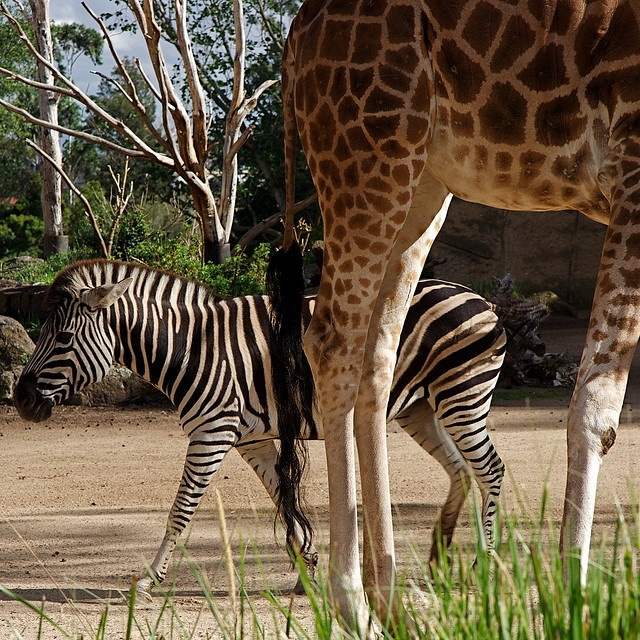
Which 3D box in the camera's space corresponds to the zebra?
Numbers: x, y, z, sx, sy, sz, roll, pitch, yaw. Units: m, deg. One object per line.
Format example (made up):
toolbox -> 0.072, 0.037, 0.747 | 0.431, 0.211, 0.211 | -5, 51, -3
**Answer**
zebra -> -0.234, 0.481, 6.158 | 2.325, 1.680, 0.679 | -1, 11, -5
